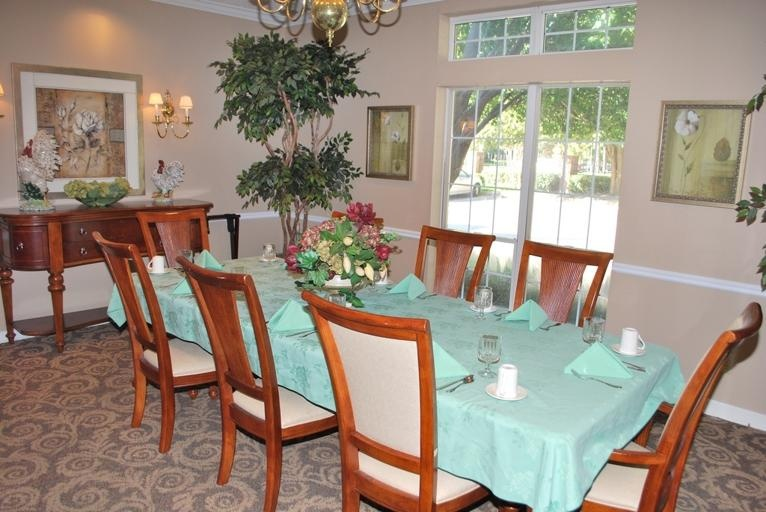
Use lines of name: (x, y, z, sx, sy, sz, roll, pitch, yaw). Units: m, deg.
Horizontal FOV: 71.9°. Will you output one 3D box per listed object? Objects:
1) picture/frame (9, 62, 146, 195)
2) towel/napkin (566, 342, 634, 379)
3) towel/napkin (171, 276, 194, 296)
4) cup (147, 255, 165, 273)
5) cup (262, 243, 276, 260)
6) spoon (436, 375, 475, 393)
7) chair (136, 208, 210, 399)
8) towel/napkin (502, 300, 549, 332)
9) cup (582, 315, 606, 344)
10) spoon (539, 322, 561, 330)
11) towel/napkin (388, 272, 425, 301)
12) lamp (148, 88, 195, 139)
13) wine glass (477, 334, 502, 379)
picture/frame: (-3.308, -1.388, 5.642, 1.459, 1.700, 0.074, -6, 14, -36)
towel/napkin: (1.235, 0.587, 3.030, 0.411, 0.183, 0.392, -11, -6, 23)
towel/napkin: (-1.480, 0.240, 3.914, 0.140, 0.187, 0.194, 9, -6, -22)
cup: (-1.851, 0.070, 4.317, 0.159, 0.162, 0.098, 0, 4, -23)
cup: (-1.050, -0.047, 4.840, 0.128, 0.146, 0.131, 2, 2, 0)
spoon: (0.391, 0.685, 2.835, 0.268, 0.039, 0.073, -13, 28, -33)
chair: (-1.723, 0.201, 4.772, 0.651, 1.091, 0.714, -8, 20, -35)
towel/napkin: (1.006, 0.377, 3.577, 0.178, 0.116, 0.240, 13, 25, 36)
cup: (1.294, 0.449, 3.254, 0.149, 0.173, 0.144, 4, 1, 0)
spoon: (1.120, 0.467, 3.540, 0.052, 0.029, 0.196, 15, 9, 34)
towel/napkin: (0.208, 0.233, 4.014, 0.179, 0.126, 0.236, 15, 29, 32)
lamp: (-2.521, -1.694, 6.246, 0.261, 0.607, 0.551, 14, 16, 42)
wine glass: (0.583, 0.546, 2.923, 0.125, 0.213, 0.128, 6, 8, 21)
